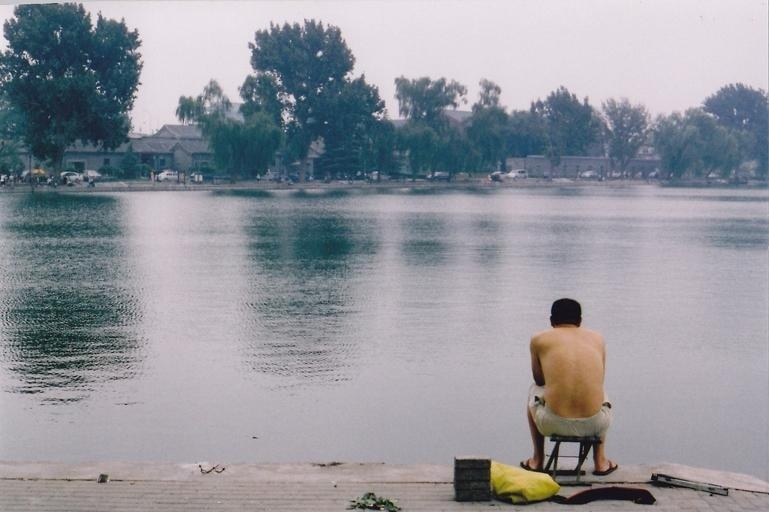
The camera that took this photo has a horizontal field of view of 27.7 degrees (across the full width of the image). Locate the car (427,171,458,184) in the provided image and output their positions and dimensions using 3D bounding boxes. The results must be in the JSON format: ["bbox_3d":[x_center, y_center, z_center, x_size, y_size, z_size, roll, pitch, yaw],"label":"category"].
[{"bbox_3d":[6.526,-8.921,176.669,3.469,1.143,1.199,0,2,-25],"label":"car"}]

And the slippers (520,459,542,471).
[{"bbox_3d":[7.194,10.286,77.312,0.979,0.245,0.437,4,3,18],"label":"slippers"}]

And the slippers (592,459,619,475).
[{"bbox_3d":[10.884,10.410,77.154,1.040,0.301,0.560,-20,28,-14],"label":"slippers"}]

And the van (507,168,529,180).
[{"bbox_3d":[15.388,-9.727,184.109,2.710,1.237,1.501,1,0,-17],"label":"van"}]

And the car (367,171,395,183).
[{"bbox_3d":[-0.463,-8.557,170.178,2.539,0.777,1.157,4,-4,-32],"label":"car"}]

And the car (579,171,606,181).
[{"bbox_3d":[25.598,-9.889,194.095,1.671,1.017,2.503,5,8,28],"label":"car"}]
